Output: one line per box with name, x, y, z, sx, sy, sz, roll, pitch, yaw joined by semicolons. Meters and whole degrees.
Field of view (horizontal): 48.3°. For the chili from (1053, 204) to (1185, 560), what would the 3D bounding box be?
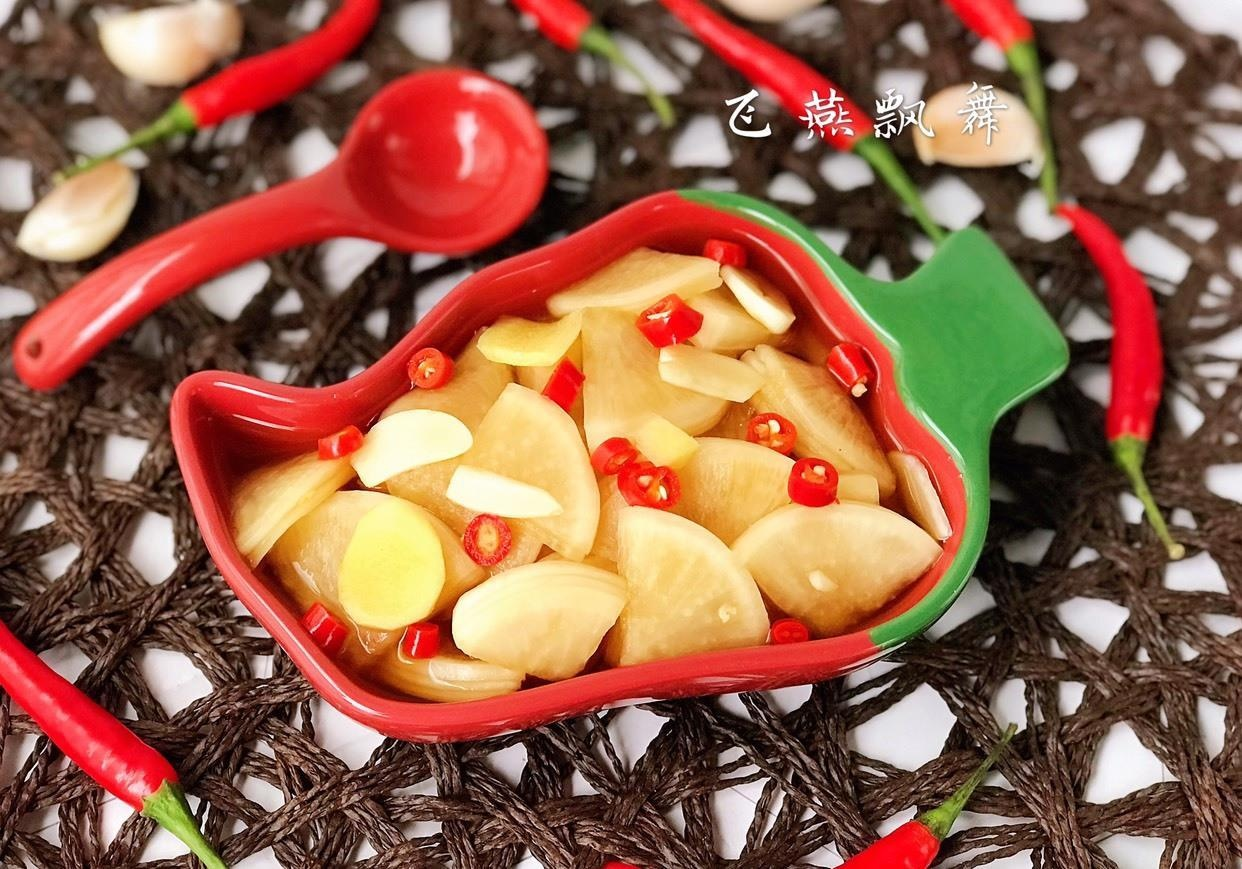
chili;0.738;-0.107;2.023;0.098;0.069;0.568;-11;80;24
